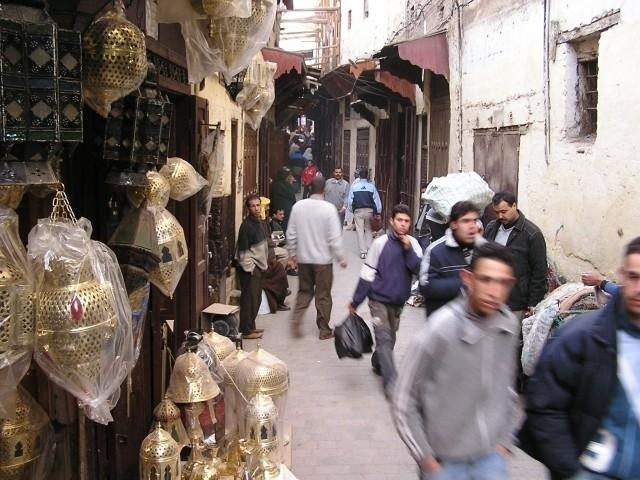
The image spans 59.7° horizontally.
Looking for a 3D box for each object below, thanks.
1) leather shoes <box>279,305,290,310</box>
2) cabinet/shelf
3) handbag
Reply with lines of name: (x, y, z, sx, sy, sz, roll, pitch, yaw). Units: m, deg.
leather shoes: (-0.583, 1.128, 9.335, 0.167, 0.081, 0.062, -2, 4, -7)
cabinet/shelf: (-1.152, -0.030, 4.640, 0.353, 2.369, 1.487, 0, 7, -5)
handbag: (1.675, -0.512, 6.651, 0.761, 0.585, 0.548, -2, 7, -21)
